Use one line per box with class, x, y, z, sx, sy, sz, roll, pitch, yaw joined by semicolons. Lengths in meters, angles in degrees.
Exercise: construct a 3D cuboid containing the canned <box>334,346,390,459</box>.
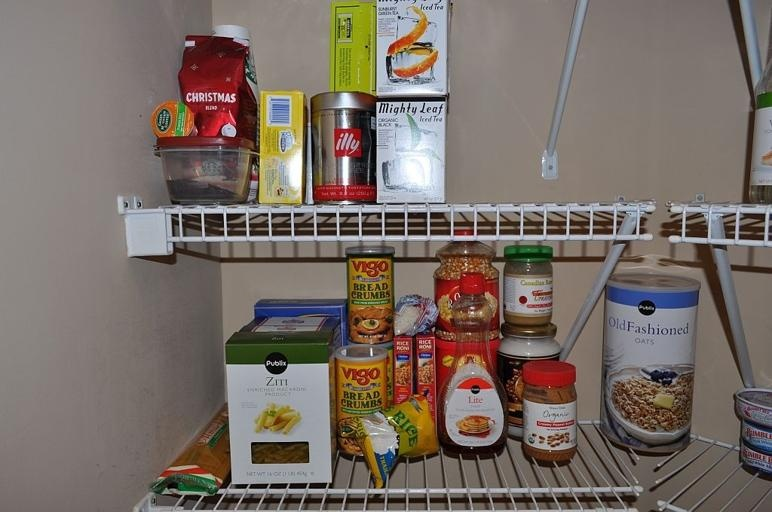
canned;-0.052;0.321;1.461;0.111;0.222;0.094;-13;13;-43
